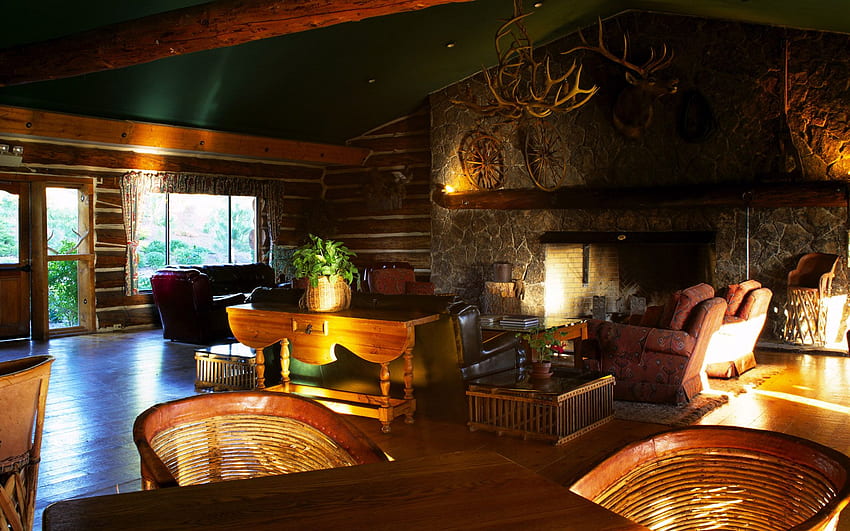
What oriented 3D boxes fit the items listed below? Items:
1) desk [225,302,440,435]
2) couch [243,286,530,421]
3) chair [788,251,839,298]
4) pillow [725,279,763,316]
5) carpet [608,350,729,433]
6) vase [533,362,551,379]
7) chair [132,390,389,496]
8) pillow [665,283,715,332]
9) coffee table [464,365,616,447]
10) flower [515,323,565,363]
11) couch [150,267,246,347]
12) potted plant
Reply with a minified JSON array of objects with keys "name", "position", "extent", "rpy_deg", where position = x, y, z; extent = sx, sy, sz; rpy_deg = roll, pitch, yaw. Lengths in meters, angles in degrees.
[{"name":"desk","position":[-0.670,0.844,4.868],"extent":[1.405,0.586,0.458],"rpy_deg":[3,8,28]},{"name":"couch","position":[-0.451,0.786,5.388],"extent":[2.007,0.815,1.589],"rpy_deg":[1,3,31]},{"name":"chair","position":[5.623,0.111,8.140],"extent":[0.620,0.595,0.451],"rpy_deg":[3,8,32]},{"name":"pillow","position":[3.862,0.389,6.797],"extent":[0.474,0.386,0.149],"rpy_deg":[-4,11,-32]},{"name":"carpet","position":[2.358,1.240,5.595],"extent":[0.953,0.117,0.952],"rpy_deg":[1,7,41]},{"name":"vase","position":[1.122,0.981,5.353],"extent":[0.197,0.117,0.176],"rpy_deg":[0,-4,4]},{"name":"chair","position":[-0.746,0.728,2.354],"extent":[0.724,0.232,0.577],"rpy_deg":[3,5,24]},{"name":"pillow","position":[2.845,0.449,5.992],"extent":[0.546,0.454,0.181],"rpy_deg":[-3,28,-45]},{"name":"coffee table","position":[0.970,1.274,5.145],"extent":[0.726,0.317,0.968],"rpy_deg":[-2,-1,37]},{"name":"flower","position":[1.144,0.790,5.560],"extent":[0.538,0.443,0.516],"rpy_deg":[-1,2,6]},{"name":"couch","position":[-3.713,0.673,9.428],"extent":[1.332,1.222,1.516],"rpy_deg":[1,-1,27]},{"name":"potted plant","position":[-0.942,0.120,5.646],"extent":[0.596,0.576,0.496],"rpy_deg":[-4,5,-19]}]
